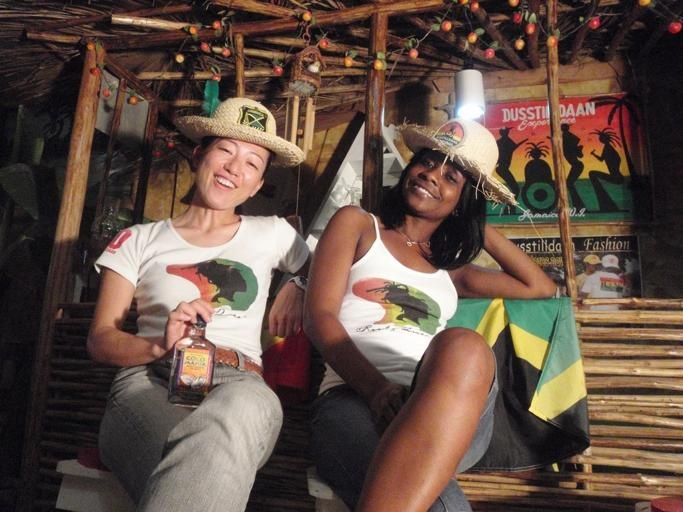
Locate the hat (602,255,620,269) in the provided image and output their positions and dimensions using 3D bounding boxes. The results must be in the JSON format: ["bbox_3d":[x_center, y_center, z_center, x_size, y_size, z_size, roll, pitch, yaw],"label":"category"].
[{"bbox_3d":[2.393,0.050,4.680,0.129,0.072,0.139,4,-43,17],"label":"hat"}]

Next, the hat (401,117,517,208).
[{"bbox_3d":[0.549,-0.506,2.593,0.576,0.201,0.478,21,-16,28],"label":"hat"}]

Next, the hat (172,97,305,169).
[{"bbox_3d":[-0.540,-0.634,2.540,0.515,0.150,0.433,11,-12,32],"label":"hat"}]

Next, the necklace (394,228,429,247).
[{"bbox_3d":[0.341,-0.081,2.529,0.140,0.030,0.078,25,0,-14],"label":"necklace"}]

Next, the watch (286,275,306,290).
[{"bbox_3d":[-0.203,0.117,2.369,0.065,0.028,0.081,21,-7,-35],"label":"watch"}]

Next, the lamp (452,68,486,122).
[{"bbox_3d":[1.061,-1.347,4.341,0.241,0.388,0.280,8,3,23],"label":"lamp"}]
